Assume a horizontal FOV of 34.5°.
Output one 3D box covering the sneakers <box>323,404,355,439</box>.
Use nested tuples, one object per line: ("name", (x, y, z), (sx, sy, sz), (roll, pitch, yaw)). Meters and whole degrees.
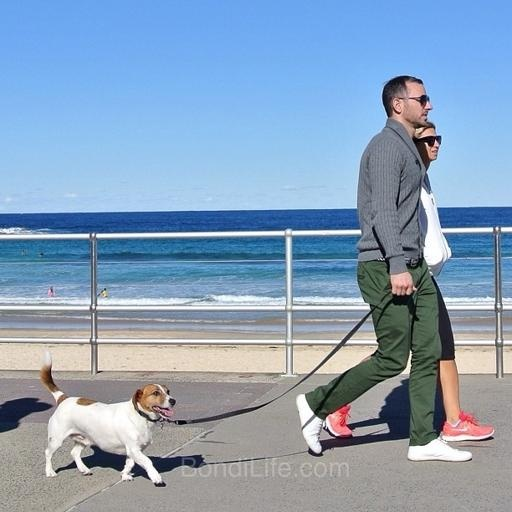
("sneakers", (0.463, 0.869, 4.423), (0.101, 0.157, 0.249), (13, 15, -17))

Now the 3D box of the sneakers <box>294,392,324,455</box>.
("sneakers", (0.266, 0.823, 4.098), (0.148, 0.282, 0.110), (-15, -2, 23))

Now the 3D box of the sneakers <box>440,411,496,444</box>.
("sneakers", (1.083, 0.888, 4.230), (0.323, 0.146, 0.114), (0, -3, -4))

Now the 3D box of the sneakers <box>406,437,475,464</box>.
("sneakers", (0.876, 0.936, 3.995), (0.333, 0.103, 0.109), (-1, -3, -1))

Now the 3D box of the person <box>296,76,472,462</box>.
("person", (0.611, 0.065, 3.948), (0.786, 1.849, 0.560), (-1, 5, 12))
